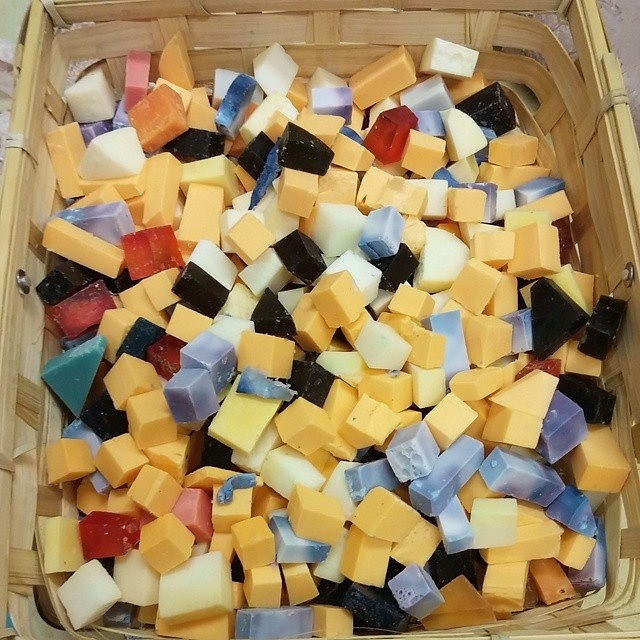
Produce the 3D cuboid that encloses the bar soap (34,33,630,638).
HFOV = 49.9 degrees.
[{"bbox_3d":[0.011,0.053,1.123,0.845,0.288,0.898,-2,75,-3],"label":"bar soap"}]
